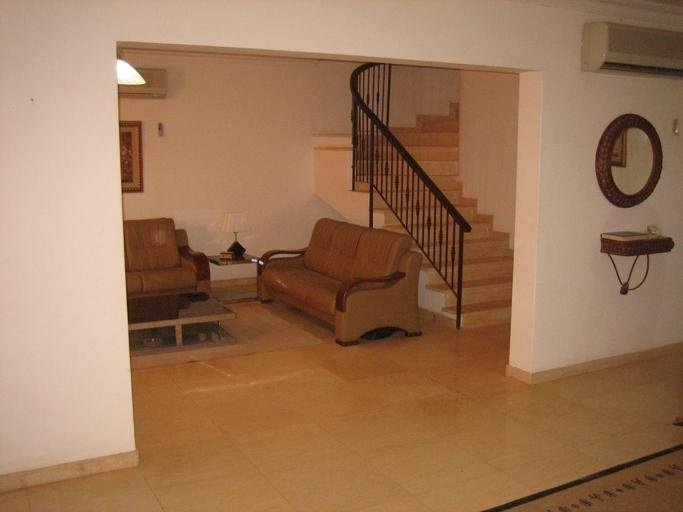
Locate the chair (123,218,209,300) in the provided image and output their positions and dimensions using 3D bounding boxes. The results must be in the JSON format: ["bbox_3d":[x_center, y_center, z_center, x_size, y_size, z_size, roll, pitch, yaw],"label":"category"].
[{"bbox_3d":[-2.364,-0.007,7.026,1.002,0.892,1.074,-5,13,-23],"label":"chair"}]

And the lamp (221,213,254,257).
[{"bbox_3d":[-1.483,-0.297,7.352,0.393,0.617,0.401,-5,8,-41],"label":"lamp"}]

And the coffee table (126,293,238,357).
[{"bbox_3d":[-1.757,0.739,5.697,1.026,0.384,0.934,-5,13,-22],"label":"coffee table"}]

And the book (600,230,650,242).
[{"bbox_3d":[2.576,-0.185,4.677,0.491,0.063,0.232,-7,14,-29],"label":"book"}]

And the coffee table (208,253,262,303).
[{"bbox_3d":[-1.565,0.254,7.758,0.734,0.702,0.733,-9,18,-37],"label":"coffee table"}]

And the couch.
[{"bbox_3d":[-0.148,0.235,6.570,1.083,1.155,2.311,-6,11,-30],"label":"couch"}]

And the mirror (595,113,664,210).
[{"bbox_3d":[2.626,-0.877,4.673,0.869,0.847,0.025,-12,10,-24],"label":"mirror"}]

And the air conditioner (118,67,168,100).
[{"bbox_3d":[-2.741,-2.427,7.221,0.659,0.429,0.487,-5,13,-20],"label":"air conditioner"}]
